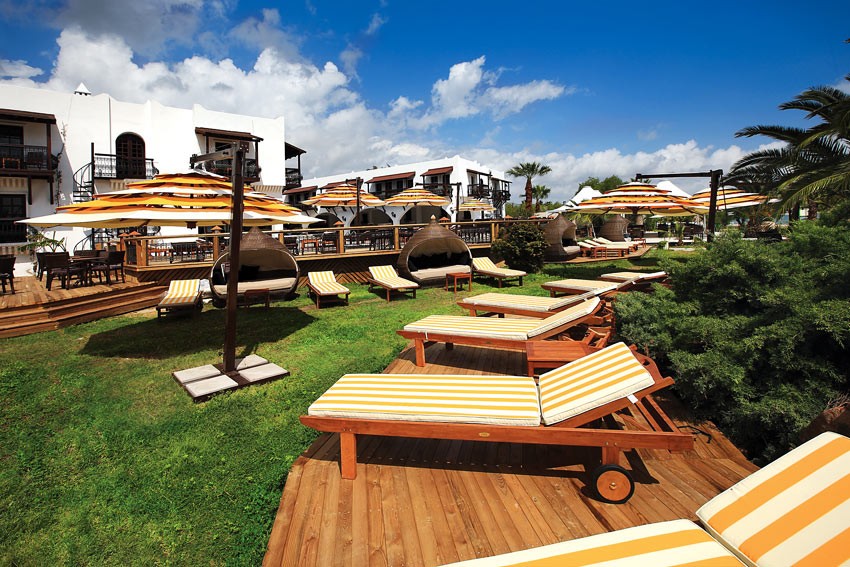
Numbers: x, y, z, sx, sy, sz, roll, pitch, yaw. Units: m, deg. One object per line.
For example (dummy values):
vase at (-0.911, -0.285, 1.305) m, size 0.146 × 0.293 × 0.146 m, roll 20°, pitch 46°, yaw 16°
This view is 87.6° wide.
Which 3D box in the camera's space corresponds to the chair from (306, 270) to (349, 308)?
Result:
chair at (-2.947, 0.136, 12.969) m, size 0.959 × 0.563 × 1.549 m, roll -6°, pitch 16°, yaw -23°

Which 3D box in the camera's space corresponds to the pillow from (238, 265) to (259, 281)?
pillow at (-5.407, -0.340, 13.368) m, size 0.652 × 0.495 × 0.345 m, roll -4°, pitch 8°, yaw -43°

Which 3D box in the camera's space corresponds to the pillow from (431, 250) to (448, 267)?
pillow at (0.570, -0.933, 16.821) m, size 0.612 × 0.461 × 0.167 m, roll 0°, pitch 2°, yaw -28°

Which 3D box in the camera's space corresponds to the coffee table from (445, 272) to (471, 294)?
coffee table at (1.092, -0.083, 14.620) m, size 0.761 × 0.585 × 0.929 m, roll -2°, pitch 6°, yaw -14°

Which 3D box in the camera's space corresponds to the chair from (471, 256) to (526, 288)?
chair at (2.395, -0.418, 15.479) m, size 1.055 × 0.556 × 1.867 m, roll -7°, pitch 12°, yaw -32°

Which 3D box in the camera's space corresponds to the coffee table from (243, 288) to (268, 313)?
coffee table at (-4.492, 0.416, 11.572) m, size 0.553 × 0.746 × 0.525 m, roll -3°, pitch 42°, yaw -17°

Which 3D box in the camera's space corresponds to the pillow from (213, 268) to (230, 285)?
pillow at (-5.841, -0.216, 12.498) m, size 0.338 × 0.424 × 0.596 m, roll -5°, pitch 10°, yaw -20°

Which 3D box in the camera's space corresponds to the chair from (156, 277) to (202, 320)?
chair at (-6.351, 0.381, 11.478) m, size 0.944 × 0.590 × 1.398 m, roll -3°, pitch 14°, yaw -14°

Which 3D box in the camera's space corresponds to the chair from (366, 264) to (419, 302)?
chair at (-1.106, -0.026, 13.911) m, size 0.970 × 0.518 × 1.829 m, roll -8°, pitch 15°, yaw -28°

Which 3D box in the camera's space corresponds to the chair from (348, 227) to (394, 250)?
chair at (-2.236, -1.751, 17.538) m, size 1.810 × 0.779 × 0.893 m, roll 3°, pitch 10°, yaw 22°

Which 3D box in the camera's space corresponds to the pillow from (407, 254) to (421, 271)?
pillow at (-0.488, -0.777, 16.162) m, size 0.572 × 0.505 × 0.534 m, roll -4°, pitch 2°, yaw -21°

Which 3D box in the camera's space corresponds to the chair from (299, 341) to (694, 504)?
chair at (0.930, 1.366, 5.176) m, size 4.383 × 1.079 × 1.701 m, roll 1°, pitch 6°, yaw 7°

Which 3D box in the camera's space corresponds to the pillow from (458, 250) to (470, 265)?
pillow at (1.399, -0.979, 16.347) m, size 0.344 × 0.468 × 0.876 m, roll -2°, pitch 9°, yaw -4°
